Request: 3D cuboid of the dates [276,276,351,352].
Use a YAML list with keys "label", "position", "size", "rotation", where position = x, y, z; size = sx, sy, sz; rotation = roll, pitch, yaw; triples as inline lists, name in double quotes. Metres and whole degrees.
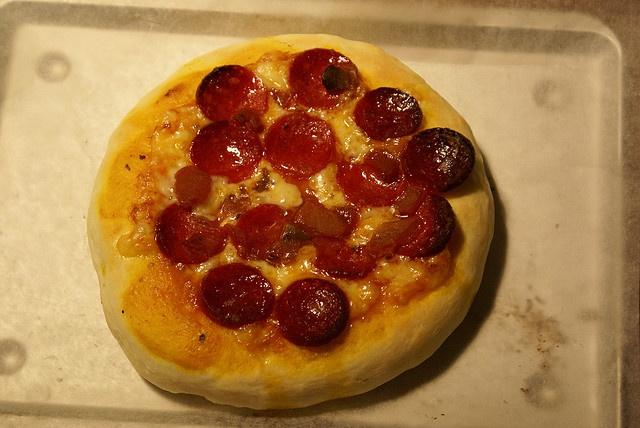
- label: "dates"
  position: [-0.050, 0.518, 4.314]
  size: [0.385, 0.191, 0.352]
  rotation: [-7, 89, 1]
